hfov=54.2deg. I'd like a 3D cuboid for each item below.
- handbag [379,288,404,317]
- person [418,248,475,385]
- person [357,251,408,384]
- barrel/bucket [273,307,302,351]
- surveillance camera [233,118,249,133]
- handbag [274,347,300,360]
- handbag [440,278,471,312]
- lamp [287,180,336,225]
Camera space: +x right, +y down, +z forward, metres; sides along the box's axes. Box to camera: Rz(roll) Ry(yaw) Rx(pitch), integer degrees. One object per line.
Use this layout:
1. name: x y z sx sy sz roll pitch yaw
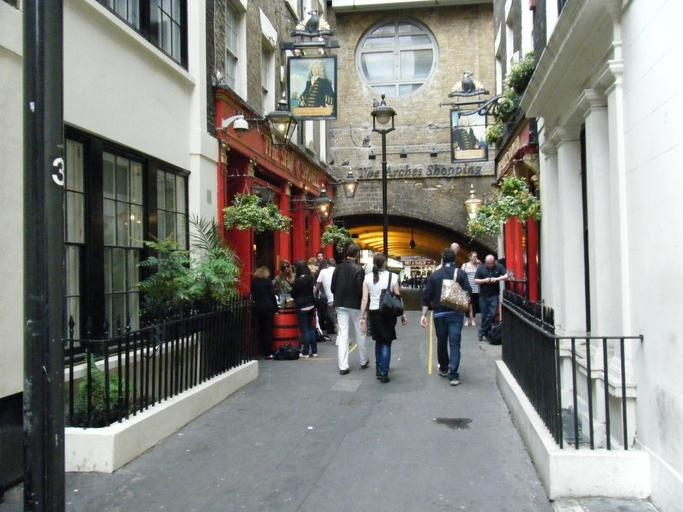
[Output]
1. handbag: 0.732 0.710 10.133 0.398 0.431 0.185 15 -31 -34
2. person: 1.596 0.904 10.316 0.711 2.006 1.097 0 3 11
3. person: 0.620 0.934 10.395 0.652 1.956 0.847 -1 3 -6
4. barrel/bucket: -1.054 1.393 12.562 0.595 0.787 0.642 0 -3 0
5. surveillance camera: -1.917 -2.473 12.648 0.239 0.303 0.262 -1 4 26
6. handbag: -1.018 1.799 12.263 0.227 0.156 0.330 -1 -4 12
7. handbag: 1.706 0.514 9.854 0.433 0.489 0.196 4 40 4
8. lamp: -0.875 -1.550 19.765 1.625 1.673 0.857 0 0 13
